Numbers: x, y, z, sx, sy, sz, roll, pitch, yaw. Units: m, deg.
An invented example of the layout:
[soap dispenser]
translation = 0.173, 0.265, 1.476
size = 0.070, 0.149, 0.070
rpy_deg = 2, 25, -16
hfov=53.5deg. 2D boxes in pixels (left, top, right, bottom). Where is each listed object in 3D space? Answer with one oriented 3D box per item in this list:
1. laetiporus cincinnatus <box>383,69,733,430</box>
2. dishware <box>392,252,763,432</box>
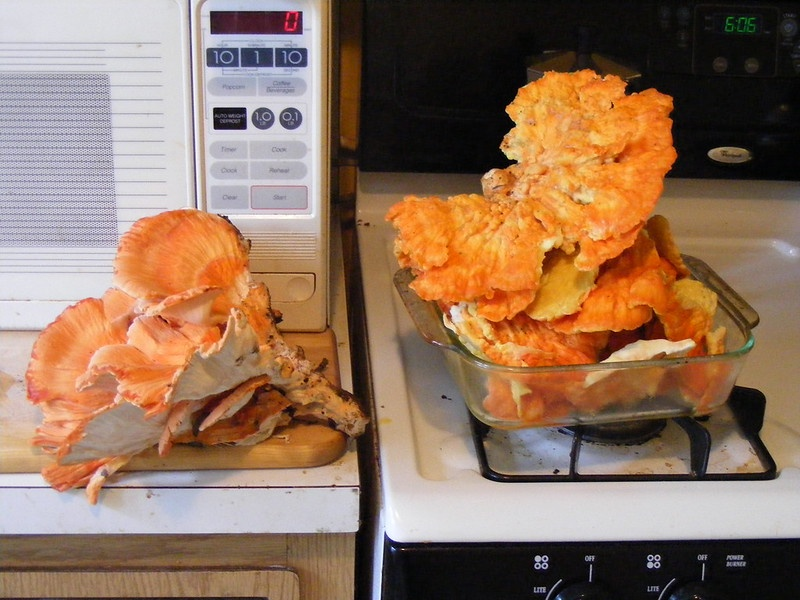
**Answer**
[laetiporus cincinnatus]
translation = 0.175, -0.059, 0.860
size = 0.377, 0.356, 0.247
rpy_deg = -2, 25, -1
[dishware]
translation = 0.206, 0.024, 0.763
size = 0.356, 0.069, 0.192
rpy_deg = -2, 28, -5
